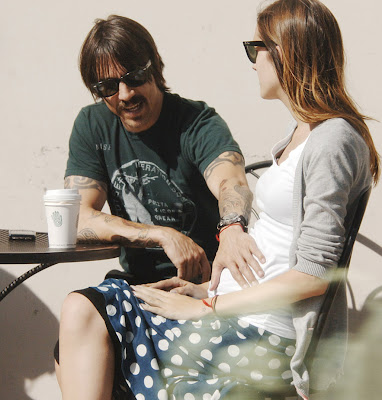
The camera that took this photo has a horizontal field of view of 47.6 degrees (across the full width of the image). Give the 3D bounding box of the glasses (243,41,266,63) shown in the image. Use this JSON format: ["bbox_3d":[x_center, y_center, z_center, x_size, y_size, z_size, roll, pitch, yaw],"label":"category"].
[{"bbox_3d":[0.171,-0.395,1.182,0.075,0.020,0.067,3,1,-2],"label":"glasses"}]

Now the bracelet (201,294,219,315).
[{"bbox_3d":[0.050,0.266,1.112,0.039,0.023,0.045,17,-33,0],"label":"bracelet"}]

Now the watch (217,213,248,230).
[{"bbox_3d":[0.135,0.069,1.360,0.090,0.048,0.074,-11,-26,1],"label":"watch"}]
